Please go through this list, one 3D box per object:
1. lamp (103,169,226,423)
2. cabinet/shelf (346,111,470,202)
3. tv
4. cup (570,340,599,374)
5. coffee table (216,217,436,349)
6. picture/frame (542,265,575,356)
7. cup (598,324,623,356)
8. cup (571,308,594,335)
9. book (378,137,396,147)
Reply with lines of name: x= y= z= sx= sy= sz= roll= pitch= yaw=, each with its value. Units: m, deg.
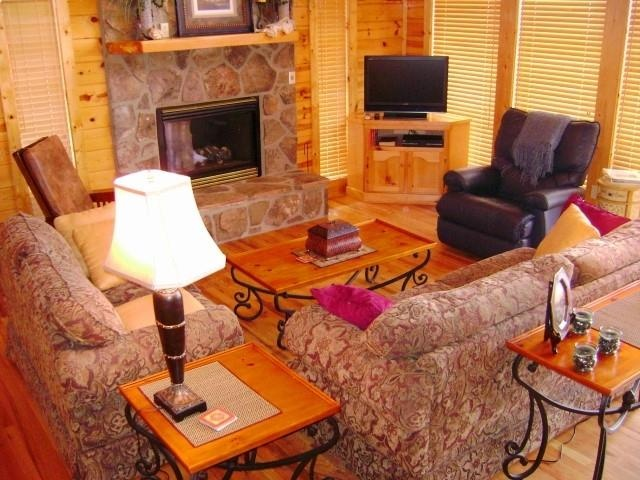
lamp: x=-0.613 y=0.201 z=2.197 sx=0.408 sy=0.947 sz=0.527 roll=-20 pitch=31 yaw=-35
cabinet/shelf: x=1.161 y=-0.957 z=6.483 sx=1.447 sy=1.010 sz=0.817 roll=5 pitch=6 yaw=31
tv: x=1.014 y=-1.810 z=6.075 sx=0.760 sy=0.525 sz=0.206 roll=2 pitch=15 yaw=9
cup: x=1.132 y=0.489 z=2.215 sx=0.099 sy=0.085 sz=0.112 roll=9 pitch=25 yaw=26
coffee table: x=0.002 y=0.372 z=4.240 sx=1.609 sy=0.587 sz=0.928 roll=-1 pitch=-9 yaw=-23
picture/frame: x=1.099 y=0.338 z=2.392 sx=0.092 sy=0.314 sz=0.283 roll=14 pitch=29 yaw=34
cup: x=1.281 y=0.451 z=2.296 sx=0.113 sy=0.119 sz=0.115 roll=0 pitch=6 yaw=0
cup: x=1.228 y=0.378 z=2.426 sx=0.100 sy=0.082 sz=0.108 roll=-2 pitch=9 yaw=0
book: x=0.816 y=-1.175 z=6.182 sx=0.209 sy=0.091 sz=0.186 roll=3 pitch=25 yaw=8
